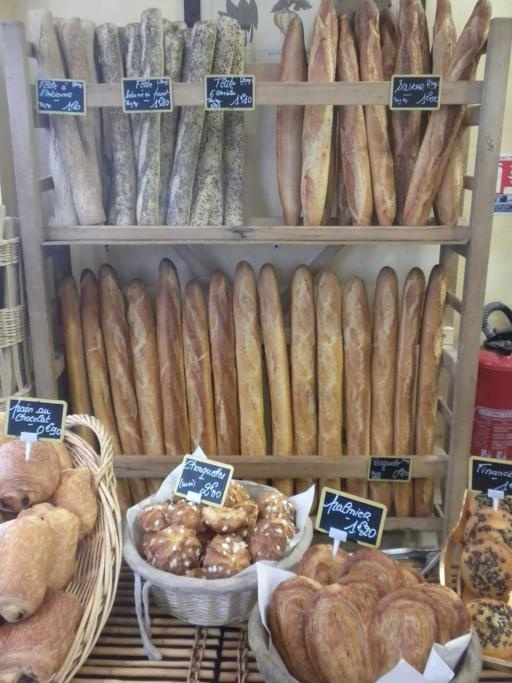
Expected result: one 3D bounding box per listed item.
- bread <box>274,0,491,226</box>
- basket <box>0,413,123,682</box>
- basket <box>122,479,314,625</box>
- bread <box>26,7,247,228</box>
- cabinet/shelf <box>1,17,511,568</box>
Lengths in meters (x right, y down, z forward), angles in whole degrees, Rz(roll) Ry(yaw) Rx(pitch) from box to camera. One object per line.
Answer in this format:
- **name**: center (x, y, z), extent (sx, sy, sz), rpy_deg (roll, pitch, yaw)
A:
- **bread**: center (0.342, -0.654, 1.678), extent (0.409, 0.886, 0.211), rpy_deg (0, 9, 9)
- **basket**: center (-0.354, 0.345, 1.160), extent (0.238, 0.500, 0.081), rpy_deg (-29, -34, 32)
- **basket**: center (-0.092, 0.470, 1.182), extent (0.248, 0.142, 0.305), rpy_deg (6, 13, 12)
- **bread**: center (-0.321, -0.616, 1.970), extent (0.470, 0.767, 0.188), rpy_deg (-3, 13, -4)
- **cabinet/shelf**: center (-0.004, -0.162, 1.754), extent (1.010, 1.795, 0.465), rpy_deg (1, 22, 3)
